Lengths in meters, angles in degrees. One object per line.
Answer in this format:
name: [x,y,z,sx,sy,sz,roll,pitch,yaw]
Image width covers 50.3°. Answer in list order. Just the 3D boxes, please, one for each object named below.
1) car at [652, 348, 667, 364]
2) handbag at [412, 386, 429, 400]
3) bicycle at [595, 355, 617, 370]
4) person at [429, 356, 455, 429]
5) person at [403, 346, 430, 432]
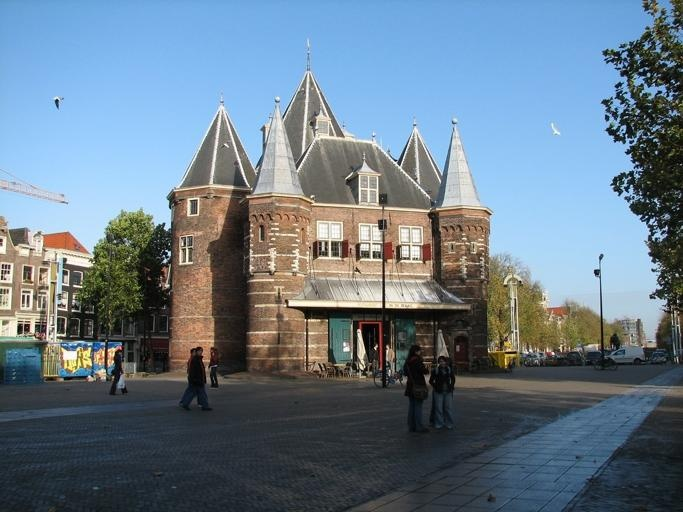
car: [29.914,9.354,67.934,1.105,0.964,1.956,-1,0,19]
handbag: [1.821,3.144,16.773,0.336,0.292,0.103,2,-13,-13]
bicycle: [19.392,7.565,52.542,1.682,0.882,1.155,2,-10,-4]
person: [2.454,3.260,17.535,0.601,1.724,0.588,-1,-10,4]
person: [1.780,3.057,16.986,0.515,2.019,0.675,-1,-10,4]
